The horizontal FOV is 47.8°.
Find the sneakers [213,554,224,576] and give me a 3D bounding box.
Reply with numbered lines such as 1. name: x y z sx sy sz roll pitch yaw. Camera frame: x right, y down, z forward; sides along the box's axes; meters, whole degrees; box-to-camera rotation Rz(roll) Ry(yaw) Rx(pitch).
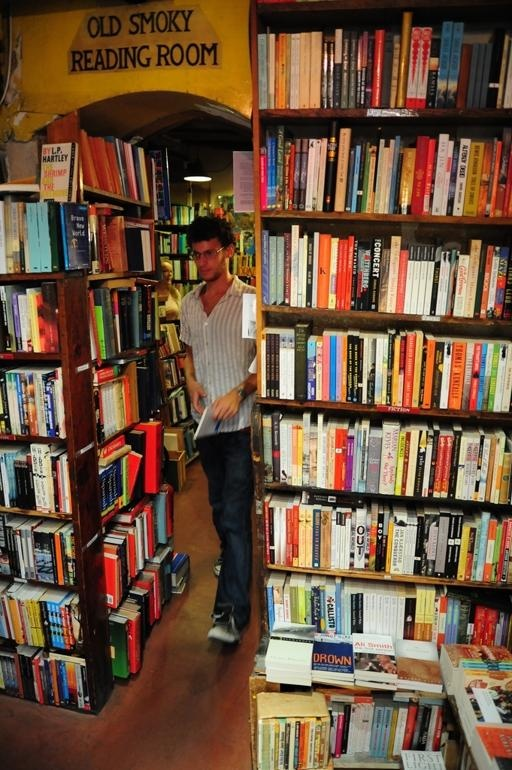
1. sneakers: -0.212 1.027 3.289 0.074 0.103 0.226 0 1 -1
